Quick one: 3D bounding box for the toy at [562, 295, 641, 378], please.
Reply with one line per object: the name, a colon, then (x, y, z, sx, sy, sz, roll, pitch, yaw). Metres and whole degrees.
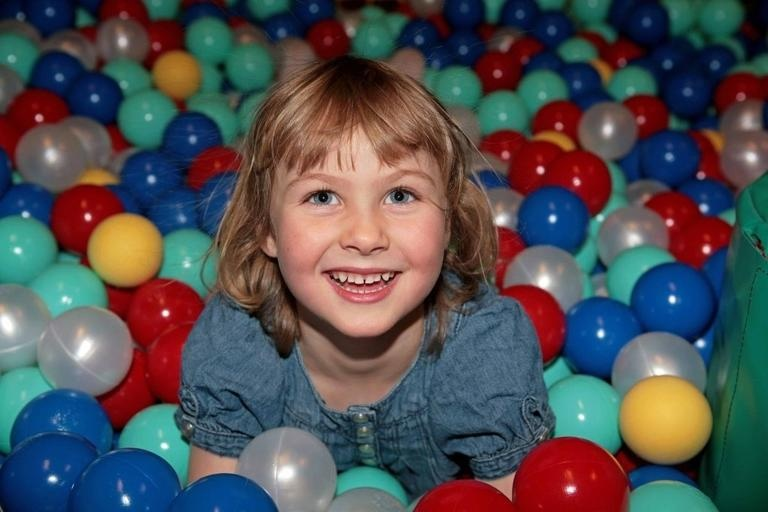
toy: (0.741, 0.266, 2.700, 0.266, 0.325, 0.271, -2, 21, -3)

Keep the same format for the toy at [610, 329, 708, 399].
toy: (0.959, 0.373, 2.602, 0.238, 0.287, 0.245, 5, -29, 1)

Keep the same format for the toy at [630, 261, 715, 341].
toy: (1.075, 0.173, 2.774, 0.273, 0.281, 0.321, -6, -33, 41)

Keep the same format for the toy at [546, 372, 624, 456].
toy: (0.677, 0.510, 2.441, 0.236, 0.288, 0.242, -1, -2, -4)

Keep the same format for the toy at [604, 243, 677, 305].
toy: (0.972, 0.047, 2.845, 0.233, 0.284, 0.230, 5, -18, -1)

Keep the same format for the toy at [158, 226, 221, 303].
toy: (-0.766, 0.022, 2.942, 0.269, 0.339, 0.277, 6, -15, -6)

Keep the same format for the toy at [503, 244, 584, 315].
toy: (0.618, 0.067, 2.851, 0.249, 0.302, 0.254, -7, 32, 13)

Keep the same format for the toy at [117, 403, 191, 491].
toy: (-0.738, 0.595, 2.394, 0.250, 0.306, 0.256, 0, -3, -13)

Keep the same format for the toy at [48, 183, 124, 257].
toy: (-1.266, -0.146, 2.943, 0.209, 0.255, 0.211, 1, 0, -26)

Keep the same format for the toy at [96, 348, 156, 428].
toy: (-0.885, 0.489, 2.654, 0.227, 0.284, 0.231, 11, 0, -20)

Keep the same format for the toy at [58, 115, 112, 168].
toy: (-1.339, -0.531, 3.337, 0.229, 0.278, 0.226, -7, 0, -20)

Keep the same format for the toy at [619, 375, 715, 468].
toy: (0.925, 0.548, 2.405, 0.293, 0.362, 0.307, 1, -9, 25)

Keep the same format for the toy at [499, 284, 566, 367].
toy: (0.536, 0.262, 2.682, 0.278, 0.347, 0.295, -3, -2, 10)

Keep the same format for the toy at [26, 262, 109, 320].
toy: (-1.184, 0.116, 2.719, 0.243, 0.215, 0.211, 26, 5, -29)

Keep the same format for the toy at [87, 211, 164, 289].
toy: (-1.011, -0.033, 2.901, 0.278, 0.346, 0.286, 7, 7, -11)

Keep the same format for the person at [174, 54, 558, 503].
person: (-0.088, 0.117, 2.655, 1.160, 1.391, 0.498, 0, -2, -3)

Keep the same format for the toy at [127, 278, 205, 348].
toy: (-0.805, 0.200, 2.814, 0.249, 0.304, 0.249, 2, 1, 1)

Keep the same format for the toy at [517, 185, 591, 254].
toy: (0.668, -0.140, 2.958, 0.256, 0.313, 0.263, 0, -2, 6)
